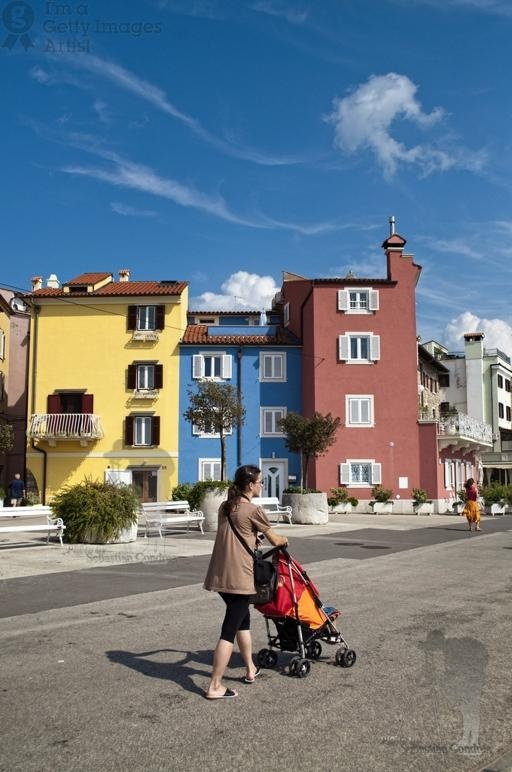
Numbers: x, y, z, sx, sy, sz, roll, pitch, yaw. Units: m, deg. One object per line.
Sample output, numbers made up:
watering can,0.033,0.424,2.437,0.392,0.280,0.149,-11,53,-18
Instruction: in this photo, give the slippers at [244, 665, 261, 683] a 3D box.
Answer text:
slippers,-0.020,2.075,4.632,0.075,0.086,0.196,-2,-5,9

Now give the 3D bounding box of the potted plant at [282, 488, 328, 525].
potted plant,1.866,4.549,22.929,1.725,1.333,0.971,-2,-20,6

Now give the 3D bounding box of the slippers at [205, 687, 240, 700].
slippers,-0.218,1.982,4.175,0.168,0.053,0.082,1,-8,-18

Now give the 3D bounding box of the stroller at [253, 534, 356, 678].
stroller,0.335,1.721,5.021,0.687,1.012,0.548,4,-12,-36

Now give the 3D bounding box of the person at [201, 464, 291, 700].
person,-0.119,1.335,4.442,0.531,1.538,0.638,1,-5,-18

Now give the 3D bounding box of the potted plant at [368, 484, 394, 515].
potted plant,6.165,5.604,31.445,1.244,1.290,0.780,1,-6,-18

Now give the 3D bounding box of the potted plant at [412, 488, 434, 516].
potted plant,8.172,5.755,31.748,1.076,1.471,1.040,-1,-3,14

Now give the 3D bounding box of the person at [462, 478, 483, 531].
person,6.935,3.823,20.688,0.435,1.598,1.363,-2,-6,18

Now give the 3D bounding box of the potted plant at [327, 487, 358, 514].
potted plant,4.148,5.595,31.258,1.539,1.187,0.912,1,-5,-10

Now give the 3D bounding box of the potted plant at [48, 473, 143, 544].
potted plant,-3.537,2.816,14.626,1.467,1.147,1.488,-1,-3,43
